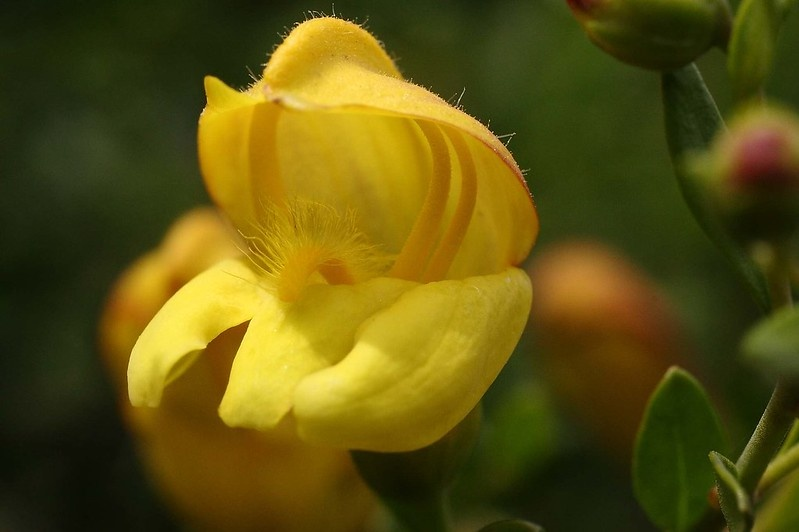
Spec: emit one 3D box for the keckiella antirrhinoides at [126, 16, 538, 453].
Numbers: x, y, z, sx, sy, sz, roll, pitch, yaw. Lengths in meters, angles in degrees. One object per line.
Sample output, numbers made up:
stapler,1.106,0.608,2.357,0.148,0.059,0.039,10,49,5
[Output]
keckiella antirrhinoides,-0.071,-0.014,0.955,0.339,0.437,0.448,1,-4,-2
